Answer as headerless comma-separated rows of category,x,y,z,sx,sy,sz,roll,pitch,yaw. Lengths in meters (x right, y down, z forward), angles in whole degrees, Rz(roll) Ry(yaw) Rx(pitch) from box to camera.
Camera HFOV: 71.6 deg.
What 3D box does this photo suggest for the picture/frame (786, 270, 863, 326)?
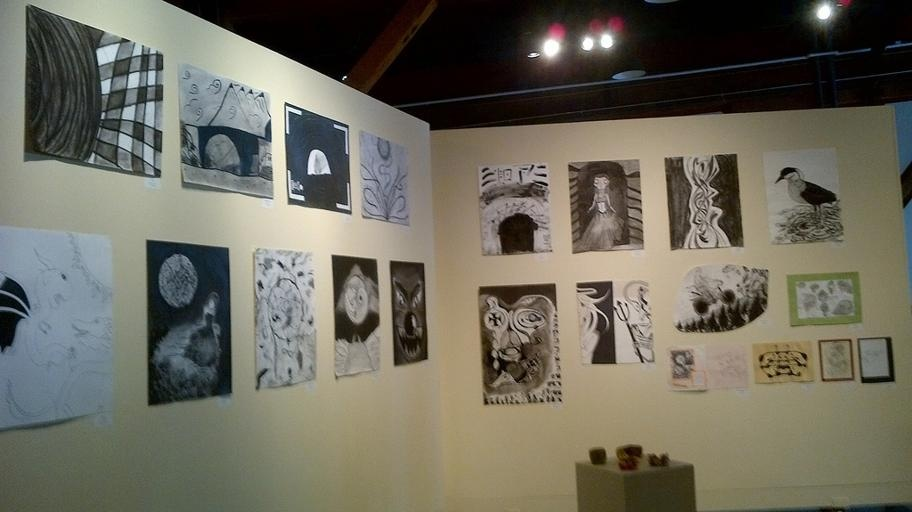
picture/frame,5.580,0.670,9.571,0.817,0.611,0.031,-2,-1,-1
